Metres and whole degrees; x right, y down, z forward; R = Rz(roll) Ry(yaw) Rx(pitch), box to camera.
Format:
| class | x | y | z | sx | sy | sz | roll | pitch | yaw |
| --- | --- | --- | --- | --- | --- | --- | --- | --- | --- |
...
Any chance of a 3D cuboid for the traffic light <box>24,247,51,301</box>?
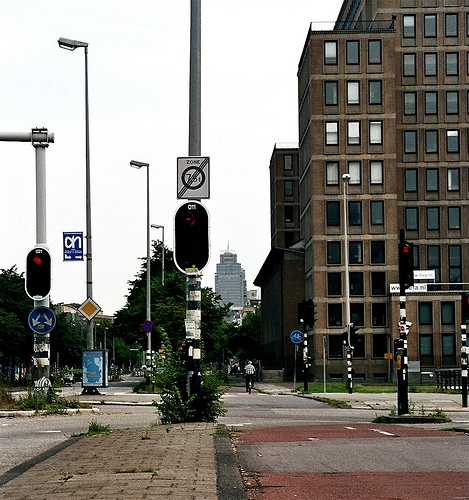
| class | x | y | z | sx | sy | sz | roll | pitch | yaw |
| --- | --- | --- | --- | --- | --- | --- | --- | --- | --- |
| traffic light | -4.077 | 0.428 | 21.497 | 0.503 | 1.121 | 0.317 | 1 | -9 | -13 |

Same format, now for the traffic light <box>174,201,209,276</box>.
| class | x | y | z | sx | sy | sz | roll | pitch | yaw |
| --- | --- | --- | --- | --- | --- | --- | --- | --- | --- |
| traffic light | -0.703 | -0.238 | 17.477 | 0.609 | 1.499 | 0.096 | 0 | -31 | -3 |

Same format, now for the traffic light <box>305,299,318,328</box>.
| class | x | y | z | sx | sy | sz | roll | pitch | yaw |
| --- | --- | --- | --- | --- | --- | --- | --- | --- | --- |
| traffic light | 2.930 | 2.357 | 39.296 | 0.360 | 1.070 | 1.006 | -2 | -10 | 4 |

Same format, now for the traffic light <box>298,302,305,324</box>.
| class | x | y | z | sx | sy | sz | roll | pitch | yaw |
| --- | --- | --- | --- | --- | --- | --- | --- | --- | --- |
| traffic light | 2.593 | 2.368 | 39.203 | 0.236 | 0.915 | 0.591 | -2 | -9 | 6 |

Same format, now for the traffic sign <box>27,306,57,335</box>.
| class | x | y | z | sx | sy | sz | roll | pitch | yaw |
| --- | --- | --- | --- | --- | --- | --- | --- | --- | --- |
| traffic sign | -4.286 | 1.540 | 22.999 | 0.534 | 0.564 | 0.304 | -1 | -9 | -4 |

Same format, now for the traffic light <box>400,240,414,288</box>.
| class | x | y | z | sx | sy | sz | roll | pitch | yaw |
| --- | --- | --- | --- | --- | --- | --- | --- | --- | --- |
| traffic light | 3.886 | 0.324 | 23.331 | 0.380 | 1.217 | 0.270 | -4 | 30 | 4 |
